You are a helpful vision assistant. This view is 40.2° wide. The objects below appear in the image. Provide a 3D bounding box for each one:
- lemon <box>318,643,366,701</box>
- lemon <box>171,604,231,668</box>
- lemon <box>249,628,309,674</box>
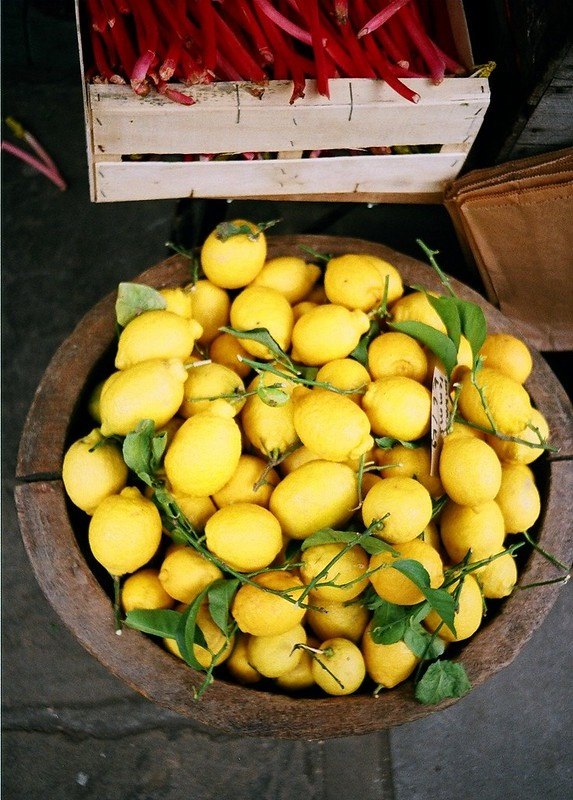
[{"bbox_3d":[0.068,0.334,0.965,0.058,0.063,0.054,-14,27,12],"label":"lemon"},{"bbox_3d":[-0.085,0.302,0.997,0.074,0.086,0.072,-39,75,-15],"label":"lemon"},{"bbox_3d":[-0.013,0.311,0.961,0.071,0.055,0.051,-21,53,20],"label":"lemon"}]
